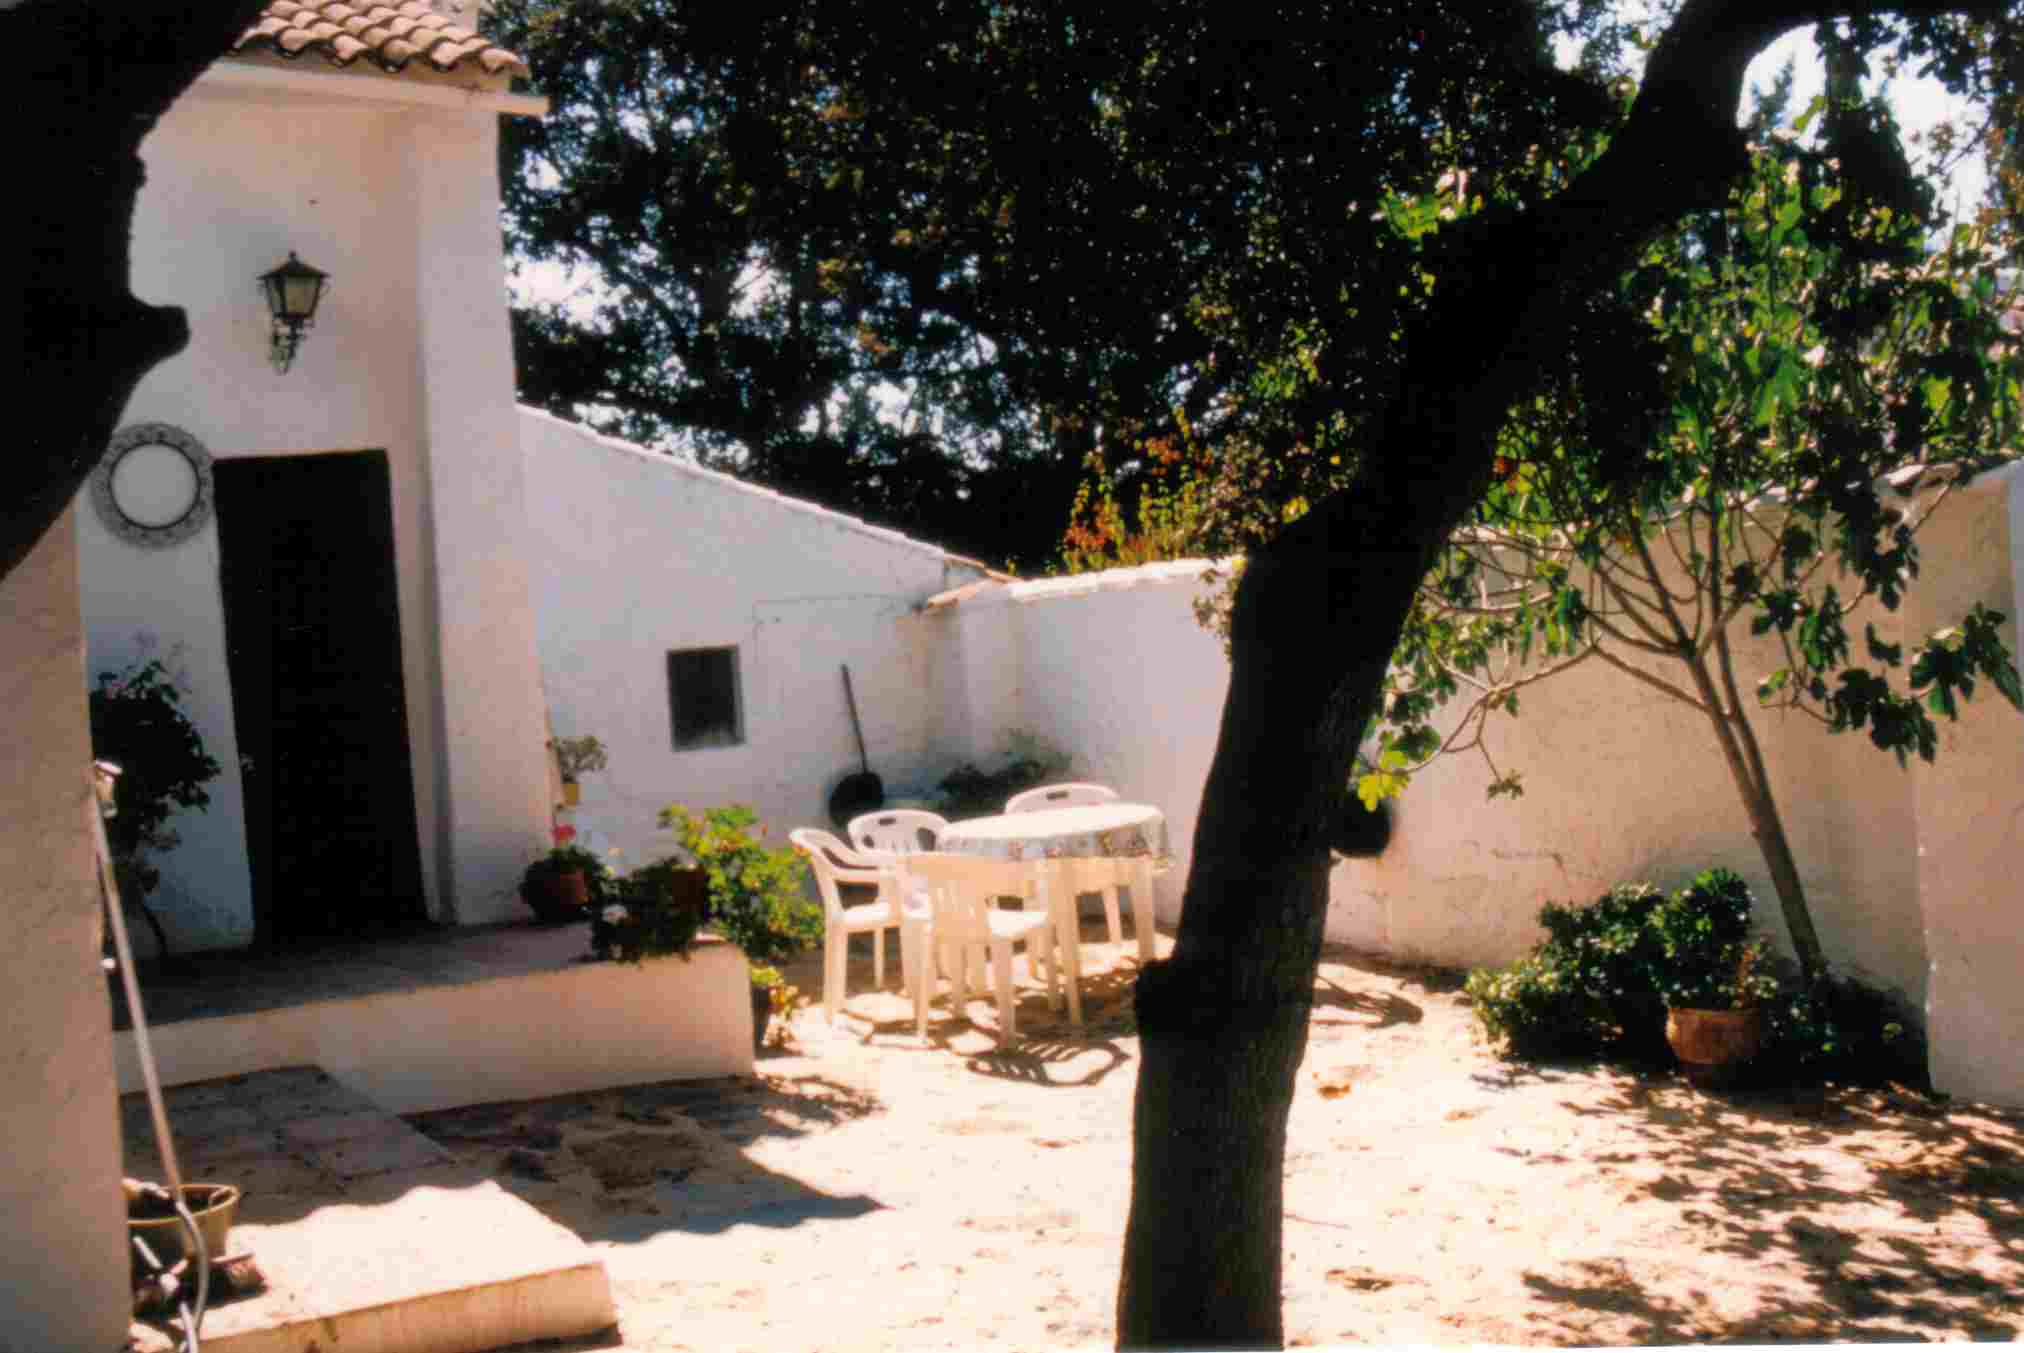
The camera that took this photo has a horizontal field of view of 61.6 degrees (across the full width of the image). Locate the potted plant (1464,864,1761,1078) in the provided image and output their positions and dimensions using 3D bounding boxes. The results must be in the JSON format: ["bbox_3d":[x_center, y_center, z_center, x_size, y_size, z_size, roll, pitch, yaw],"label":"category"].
[{"bbox_3d":[3.094,1.486,8.687,1.011,0.687,1.072,-25,14,8],"label":"potted plant"}]

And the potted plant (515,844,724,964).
[{"bbox_3d":[-2.085,1.197,9.284,0.699,0.495,1.397,-6,8,-31],"label":"potted plant"}]

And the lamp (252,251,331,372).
[{"bbox_3d":[-4.036,-2.081,9.617,0.349,0.689,0.389,-4,8,-22],"label":"lamp"}]

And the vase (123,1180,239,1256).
[{"bbox_3d":[-2.904,1.892,6.008,0.256,0.132,0.277,-2,-9,-2],"label":"vase"}]
